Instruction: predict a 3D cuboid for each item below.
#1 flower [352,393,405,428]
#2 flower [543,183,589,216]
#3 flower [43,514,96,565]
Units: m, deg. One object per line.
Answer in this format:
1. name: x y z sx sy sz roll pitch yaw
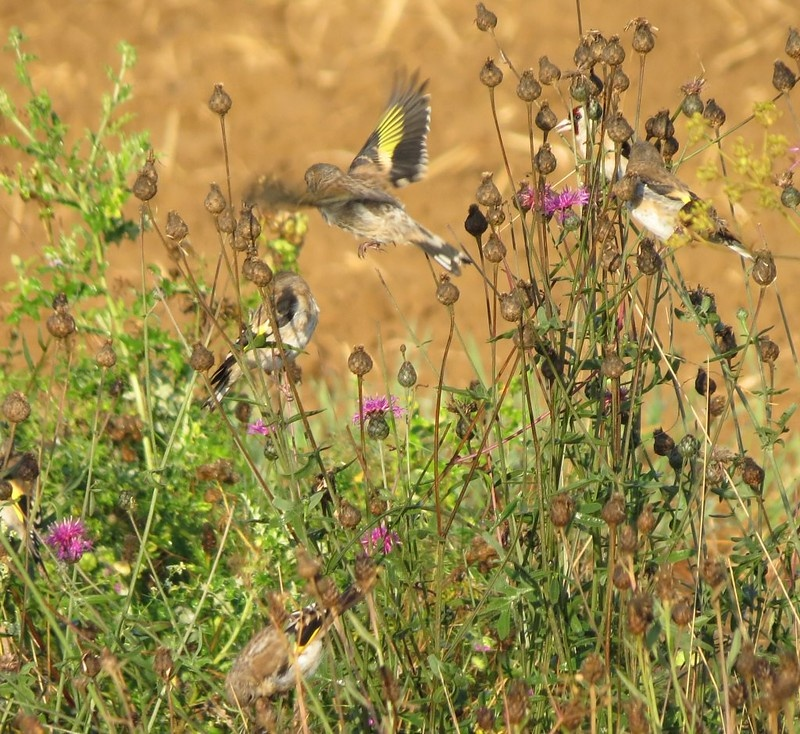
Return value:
1. flower: -0.051 0.132 3.049 0.109 0.069 0.106 -29 15 -38
2. flower: 0.421 -0.421 2.862 0.110 0.084 0.137 -1 26 6
3. flower: -0.848 0.449 2.875 0.112 0.120 0.139 1 81 -18
